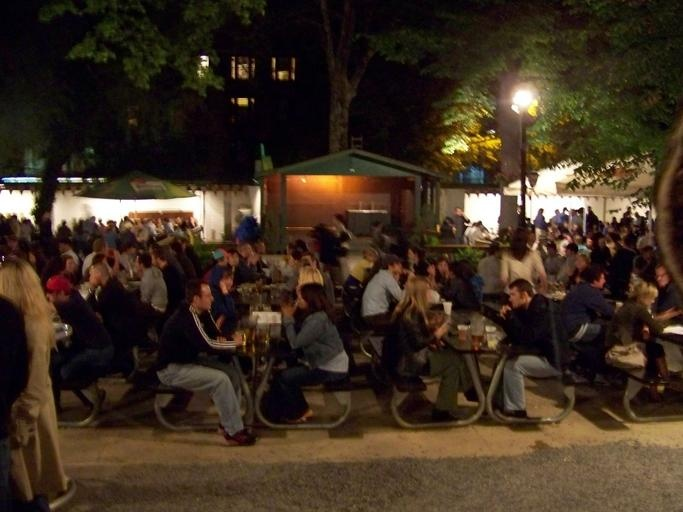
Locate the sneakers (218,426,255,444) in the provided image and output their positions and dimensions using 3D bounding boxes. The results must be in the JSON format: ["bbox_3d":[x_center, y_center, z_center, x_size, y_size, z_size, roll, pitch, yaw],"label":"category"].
[{"bbox_3d":[-1.362,2.294,8.589,0.490,0.251,0.191,0,4,0],"label":"sneakers"}]

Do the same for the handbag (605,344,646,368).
[{"bbox_3d":[3.959,1.391,9.270,0.338,0.140,0.359,-8,8,12],"label":"handbag"}]
